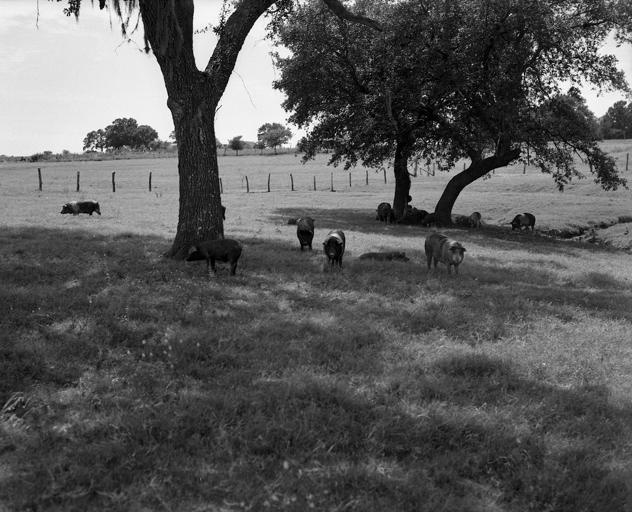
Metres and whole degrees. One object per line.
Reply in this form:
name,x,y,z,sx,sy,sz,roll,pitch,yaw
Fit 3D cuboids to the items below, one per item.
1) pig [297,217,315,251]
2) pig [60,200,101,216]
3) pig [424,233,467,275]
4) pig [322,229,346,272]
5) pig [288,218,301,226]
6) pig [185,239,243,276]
pig,-0.328,-0.827,22.299,0.536,1.109,1.702,0,7,-1
pig,-10.574,-2.209,28.562,1.784,1.067,0.784,1,6,-18
pig,4.007,-0.107,19.868,0.961,1.130,2.037,0,7,-1
pig,0.607,-0.187,19.391,0.439,1.103,1.827,-4,10,6
pig,-1.062,-1.691,30.130,0.484,0.320,0.510,-7,15,-31
pig,-2.752,0.000,17.334,1.703,1.284,0.783,1,3,11
